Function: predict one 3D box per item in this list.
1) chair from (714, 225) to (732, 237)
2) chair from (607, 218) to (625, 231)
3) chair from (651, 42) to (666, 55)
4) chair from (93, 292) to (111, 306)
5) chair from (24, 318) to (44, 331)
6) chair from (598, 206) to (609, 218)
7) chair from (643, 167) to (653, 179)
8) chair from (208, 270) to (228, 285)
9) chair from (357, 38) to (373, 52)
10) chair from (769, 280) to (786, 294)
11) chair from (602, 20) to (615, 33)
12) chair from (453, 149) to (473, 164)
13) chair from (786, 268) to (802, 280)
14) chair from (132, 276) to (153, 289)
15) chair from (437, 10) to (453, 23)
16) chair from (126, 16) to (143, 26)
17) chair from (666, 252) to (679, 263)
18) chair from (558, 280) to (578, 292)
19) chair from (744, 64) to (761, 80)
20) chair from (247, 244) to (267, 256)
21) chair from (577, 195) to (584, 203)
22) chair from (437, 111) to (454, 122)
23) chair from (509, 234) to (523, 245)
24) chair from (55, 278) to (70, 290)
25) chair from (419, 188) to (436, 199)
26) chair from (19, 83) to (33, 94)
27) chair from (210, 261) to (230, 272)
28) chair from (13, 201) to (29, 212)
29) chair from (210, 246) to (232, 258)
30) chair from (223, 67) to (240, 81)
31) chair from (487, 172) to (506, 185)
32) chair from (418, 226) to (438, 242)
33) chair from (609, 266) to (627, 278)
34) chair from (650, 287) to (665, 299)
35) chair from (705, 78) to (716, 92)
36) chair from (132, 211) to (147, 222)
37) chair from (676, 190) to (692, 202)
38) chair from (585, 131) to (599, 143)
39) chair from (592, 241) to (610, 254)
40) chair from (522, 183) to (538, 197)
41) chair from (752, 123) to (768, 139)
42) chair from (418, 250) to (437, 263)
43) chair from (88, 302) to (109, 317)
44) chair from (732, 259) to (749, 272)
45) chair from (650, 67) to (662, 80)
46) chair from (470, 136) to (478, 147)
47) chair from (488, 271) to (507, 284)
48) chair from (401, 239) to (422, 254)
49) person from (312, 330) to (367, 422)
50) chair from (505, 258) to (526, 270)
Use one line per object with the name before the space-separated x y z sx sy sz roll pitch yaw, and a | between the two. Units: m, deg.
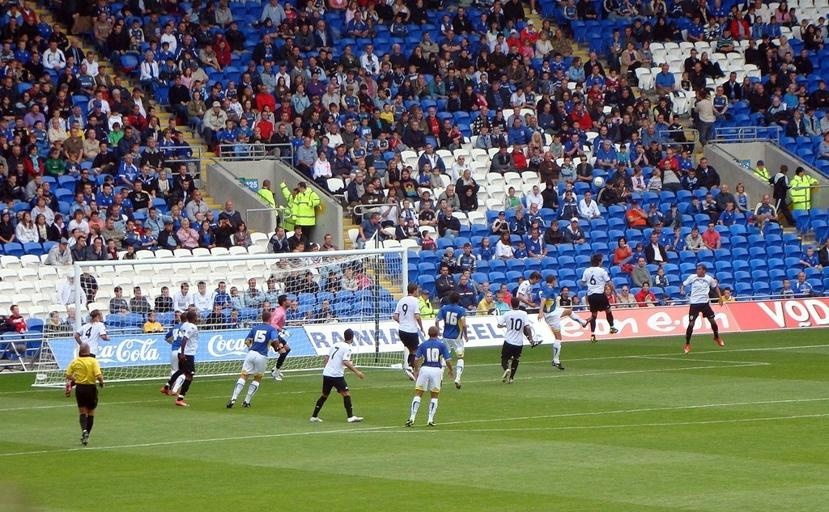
chair | 12.078 -1.017 51.983 0.424 0.422 0.451 -1 24 5
chair | 7.803 -1.247 51.480 0.555 0.574 0.478 0 5 3
chair | 10.606 -9.036 58.108 0.617 0.767 0.594 -3 16 -2
chair | -9.947 1.350 42.197 0.414 0.509 0.413 2 -2 -8
chair | -12.248 2.206 42.777 0.459 0.548 0.462 2 -9 -14
chair | 7.381 -1.760 51.860 0.423 0.426 0.355 1 4 2
chair | 9.393 -3.329 53.472 0.492 0.529 0.375 0 -10 4
chair | -6.653 0.718 44.761 0.481 0.627 0.466 0 3 -18
chair | -2.044 -8.753 54.777 0.750 0.659 0.535 -2 7 -18
chair | 14.015 1.173 51.344 0.464 0.575 0.525 0 -12 9
chair | 8.505 -10.098 58.451 0.573 0.590 0.561 1 -10 2
chair | 1.909 -3.958 52.124 0.559 0.655 0.603 1 -4 -2
chair | 14.713 0.649 51.614 0.457 0.384 0.453 4 8 25
chair | -8.924 0.857 43.588 0.442 0.553 0.462 0 0 -22
chair | 1.290 -10.287 56.613 0.458 0.518 0.580 -17 -31 -21
chair | -10.913 -9.106 51.628 0.593 0.515 0.446 -7 28 -3
chair | 9.833 0.033 50.712 0.458 0.458 0.410 0 11 -9
chair | 5.765 1.088 48.862 0.511 0.585 0.511 1 -2 -17
chair | 14.895 -8.135 58.490 0.770 0.679 0.752 0 3 -6
chair | -5.550 -0.246 46.966 0.484 0.607 0.479 0 0 -8
chair | 6.487 -2.268 52.035 0.298 0.214 0.291 -3 14 -3
chair | 1.269 -5.618 53.250 0.672 0.317 0.481 -4 1 -9
chair | 3.791 -0.619 49.442 0.391 0.413 0.343 -1 11 -2
chair | -11.412 0.901 43.090 0.380 0.321 0.205 0 9 -41
chair | 0.469 -2.377 50.194 0.525 0.326 0.828 -3 1 16
chair | -14.113 -6.157 48.288 0.434 0.482 0.420 5 -5 -23
chair | -6.627 0.340 45.229 0.365 0.476 0.405 0 -1 -17
chair | -13.510 -1.707 45.612 0.391 0.274 0.383 1 1 -1
chair | -6.716 -0.168 45.902 0.484 0.647 0.484 0 -4 -21
chair | -7.199 -7.121 52.261 0.570 0.622 0.727 -3 -16 -2
chair | 3.187 -3.032 51.714 0.499 0.626 0.513 0 1 -11
chair | 0.529 -0.850 49.311 0.517 0.626 0.550 0 -2 -16
chair | 7.613 0.580 49.640 0.457 0.397 0.452 -1 0 16
chair | 8.941 1.350 48.921 0.449 0.479 0.449 1 21 3
chair | 12.806 -7.436 57.382 0.541 0.491 0.505 0 6 -7
chair | -9.578 -1.410 46.392 0.344 0.391 0.450 7 -27 -21
chair | 10.741 -2.415 52.954 0.536 0.485 0.405 -4 2 -11
chair | 7.279 -4.892 54.393 0.475 0.379 0.481 8 23 13
chair | 7.078 -0.296 50.298 0.602 0.620 0.617 1 6 -4
chair | 4.501 -2.603 51.869 0.477 0.417 0.451 -8 -9 43
chair | 14.805 -5.281 56.551 0.759 0.718 0.561 3 23 8
chair | 0.493 0.012 48.060 0.454 0.385 0.449 -3 2 -12
chair | -9.862 1.600 41.864 0.616 0.760 0.643 1 -4 -18
chair | 12.632 0.339 51.411 0.763 0.332 0.164 -4 1 -29
chair | 10.256 -7.855 57.167 0.497 0.676 0.501 -1 12 -5
chair | 2.372 -4.588 52.831 0.386 0.444 0.370 0 0 -2
chair | 3.011 0.763 48.112 0.460 0.399 0.468 -1 6 -7
chair | -0.119 -0.362 48.324 0.551 0.631 0.594 -2 1 -18
person | -2.037 3.217 36.115 1.320 2.549 0.856 3 1 32
chair | 3.710 0.309 48.661 0.474 0.436 0.434 1 -8 -9
